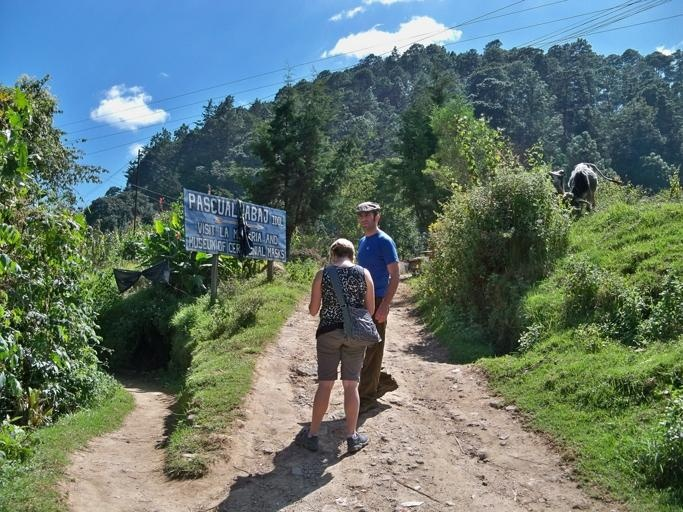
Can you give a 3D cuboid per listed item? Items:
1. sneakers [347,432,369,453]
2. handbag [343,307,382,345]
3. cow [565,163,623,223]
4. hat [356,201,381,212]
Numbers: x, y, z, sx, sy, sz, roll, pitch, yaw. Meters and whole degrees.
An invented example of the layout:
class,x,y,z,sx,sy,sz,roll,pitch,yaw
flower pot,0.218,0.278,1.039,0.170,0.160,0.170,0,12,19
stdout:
class,x,y,z,sx,sy,sz,roll,pitch,yaw
sneakers,0.218,2.493,8.766,0.153,0.281,0.356,7,18,39
handbag,0.252,0.902,8.439,0.423,0.464,0.219,13,-22,-40
cow,7.254,-2.072,18.924,0.855,1.331,3.913,-3,9,23
hat,0.373,-0.724,9.292,0.312,0.135,0.240,1,3,14
